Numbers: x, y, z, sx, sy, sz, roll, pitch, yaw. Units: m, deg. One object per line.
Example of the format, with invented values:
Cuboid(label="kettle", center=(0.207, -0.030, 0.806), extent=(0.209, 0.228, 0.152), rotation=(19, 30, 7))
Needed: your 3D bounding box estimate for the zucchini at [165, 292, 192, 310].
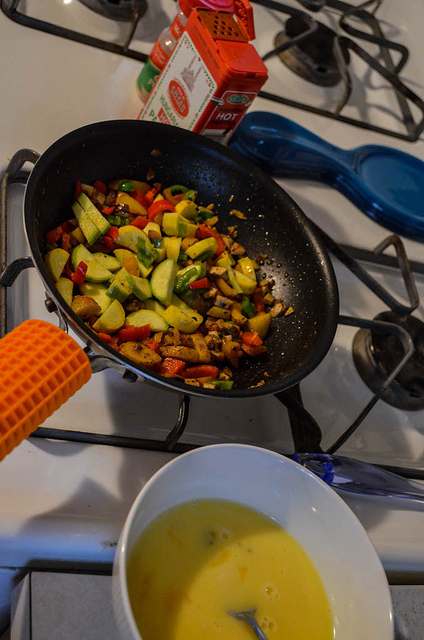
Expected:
Cuboid(label="zucchini", center=(-0.044, -0.022, 0.762), extent=(0.043, 0.013, 0.012), rotation=(34, 61, -25))

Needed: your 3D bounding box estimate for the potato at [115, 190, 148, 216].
Cuboid(label="potato", center=(-0.109, -0.158, 0.782), extent=(0.041, 0.017, 0.023), rotation=(37, 49, -11))

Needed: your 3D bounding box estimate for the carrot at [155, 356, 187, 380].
Cuboid(label="carrot", center=(-0.041, 0.053, 0.649), extent=(0.022, 0.006, 0.022), rotation=(25, 57, 4))

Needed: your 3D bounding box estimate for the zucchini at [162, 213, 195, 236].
Cuboid(label="zucchini", center=(-0.043, -0.132, 0.785), extent=(0.028, 0.049, 0.033), rotation=(7, 89, 27))

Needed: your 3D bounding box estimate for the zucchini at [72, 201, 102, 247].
Cuboid(label="zucchini", center=(-0.153, -0.119, 0.715), extent=(0.011, 0.041, 0.042), rotation=(-32, 101, -29))

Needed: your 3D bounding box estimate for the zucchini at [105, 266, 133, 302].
Cuboid(label="zucchini", center=(-0.108, -0.046, 0.702), extent=(0.032, 0.011, 0.044), rotation=(14, 69, 16))

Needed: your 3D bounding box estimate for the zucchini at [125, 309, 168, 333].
Cuboid(label="zucchini", center=(-0.081, 0.000, 0.707), extent=(0.052, 0.024, 0.031), rotation=(-2, 63, -8))

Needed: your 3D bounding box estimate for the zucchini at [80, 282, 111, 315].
Cuboid(label="zucchini", center=(-0.139, -0.028, 0.694), extent=(0.032, 0.009, 0.041), rotation=(-7, 76, -39))

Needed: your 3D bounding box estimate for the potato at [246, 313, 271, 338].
Cuboid(label="potato", center=(0.066, 0.006, 0.782), extent=(0.031, 0.012, 0.029), rotation=(47, 53, -32))

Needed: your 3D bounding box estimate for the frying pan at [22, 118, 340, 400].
Cuboid(label="frying pan", center=(-0.049, -0.072, 0.737), extent=(0.435, 0.178, 0.386), rotation=(-1, 85, -21))

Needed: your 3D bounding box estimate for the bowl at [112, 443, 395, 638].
Cuboid(label="bowl", center=(0.045, 0.212, 0.530), extent=(0.247, 0.102, 0.176), rotation=(12, 62, -1))

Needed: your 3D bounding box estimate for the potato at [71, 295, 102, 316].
Cuboid(label="potato", center=(-0.143, -0.016, 0.652), extent=(0.028, 0.010, 0.021), rotation=(18, 36, -29))

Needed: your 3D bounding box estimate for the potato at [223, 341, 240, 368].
Cuboid(label="potato", center=(0.026, 0.047, 0.739), extent=(0.018, 0.009, 0.029), rotation=(-11, 95, -24))

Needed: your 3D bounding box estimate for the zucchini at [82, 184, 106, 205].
Cuboid(label="zucchini", center=(-0.153, -0.163, 0.747), extent=(0.031, 0.007, 0.016), rotation=(29, 59, -20))

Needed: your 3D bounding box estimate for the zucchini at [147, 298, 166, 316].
Cuboid(label="zucchini", center=(-0.071, -0.016, 0.737), extent=(0.017, 0.005, 0.022), rotation=(-34, 91, -27))

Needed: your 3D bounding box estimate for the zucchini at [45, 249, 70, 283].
Cuboid(label="zucchini", center=(-0.181, -0.066, 0.657), extent=(0.020, 0.020, 0.045), rotation=(13, 62, 0))

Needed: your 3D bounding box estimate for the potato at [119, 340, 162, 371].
Cuboid(label="potato", center=(-0.081, 0.038, 0.655), extent=(0.049, 0.031, 0.033), rotation=(18, 62, 3))

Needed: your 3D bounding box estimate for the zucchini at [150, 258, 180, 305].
Cuboid(label="zucchini", center=(-0.070, -0.053, 0.749), extent=(0.031, 0.064, 0.017), rotation=(-13, 39, -26))

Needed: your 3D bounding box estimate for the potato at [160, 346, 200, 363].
Cuboid(label="potato", center=(-0.038, 0.041, 0.690), extent=(0.040, 0.012, 0.020), rotation=(14, 17, -45))

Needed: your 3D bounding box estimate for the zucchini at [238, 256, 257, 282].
Cuboid(label="zucchini", center=(0.050, -0.072, 0.825), extent=(0.016, 0.014, 0.048), rotation=(-22, 53, 9))

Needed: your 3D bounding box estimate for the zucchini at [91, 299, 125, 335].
Cuboid(label="zucchini", center=(-0.123, -0.002, 0.672), extent=(0.019, 0.013, 0.037), rotation=(35, 27, 12))

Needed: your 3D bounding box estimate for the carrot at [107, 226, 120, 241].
Cuboid(label="carrot", center=(-0.128, -0.114, 0.744), extent=(0.015, 0.008, 0.018), rotation=(16, 60, -14))

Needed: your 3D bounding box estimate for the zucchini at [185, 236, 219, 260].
Cuboid(label="zucchini", center=(-0.016, -0.101, 0.797), extent=(0.041, 0.041, 0.014), rotation=(-28, 86, -7))

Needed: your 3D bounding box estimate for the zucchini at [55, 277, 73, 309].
Cuboid(label="zucchini", center=(-0.177, -0.035, 0.680), extent=(0.025, 0.008, 0.037), rotation=(-9, 74, -34))

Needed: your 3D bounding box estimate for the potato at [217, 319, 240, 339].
Cuboid(label="potato", center=(0.023, 0.011, 0.758), extent=(0.029, 0.008, 0.017), rotation=(43, 98, 6))

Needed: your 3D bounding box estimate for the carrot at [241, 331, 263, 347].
Cuboid(label="carrot", center=(0.055, 0.024, 0.761), extent=(0.015, 0.025, 0.010), rotation=(7, 106, -37))

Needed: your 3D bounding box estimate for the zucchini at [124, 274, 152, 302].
Cuboid(label="zucchini", center=(-0.092, -0.040, 0.717), extent=(0.030, 0.009, 0.031), rotation=(-9, 85, -55))

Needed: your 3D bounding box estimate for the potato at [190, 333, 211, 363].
Cuboid(label="potato", center=(-0.015, 0.033, 0.727), extent=(0.014, 0.013, 0.051), rotation=(5, 32, -19))
